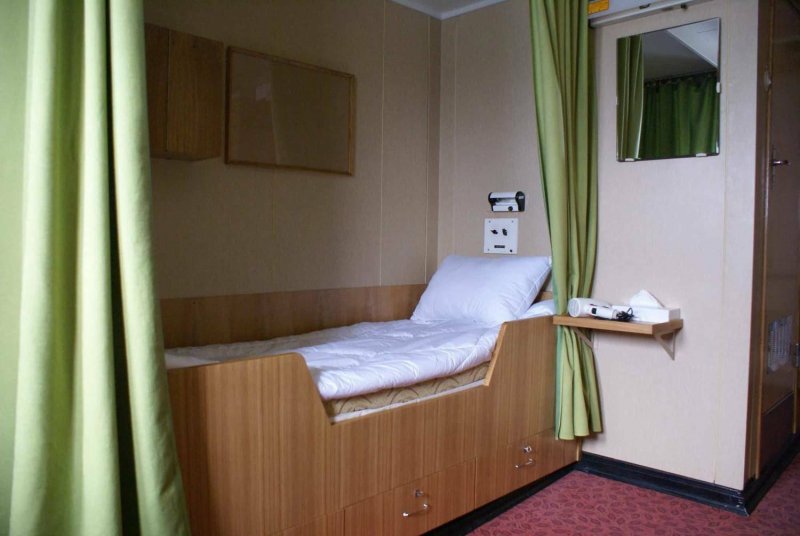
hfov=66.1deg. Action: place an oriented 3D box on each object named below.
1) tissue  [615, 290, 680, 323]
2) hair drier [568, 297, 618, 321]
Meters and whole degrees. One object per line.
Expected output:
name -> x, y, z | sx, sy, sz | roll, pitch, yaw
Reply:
tissue  -> 1.308, 0.171, 3.180 | 0.189, 0.125, 0.196 | 1, 4, 44
hair drier -> 0.990, 0.214, 3.169 | 0.188, 0.087, 0.120 | 9, 48, 27
